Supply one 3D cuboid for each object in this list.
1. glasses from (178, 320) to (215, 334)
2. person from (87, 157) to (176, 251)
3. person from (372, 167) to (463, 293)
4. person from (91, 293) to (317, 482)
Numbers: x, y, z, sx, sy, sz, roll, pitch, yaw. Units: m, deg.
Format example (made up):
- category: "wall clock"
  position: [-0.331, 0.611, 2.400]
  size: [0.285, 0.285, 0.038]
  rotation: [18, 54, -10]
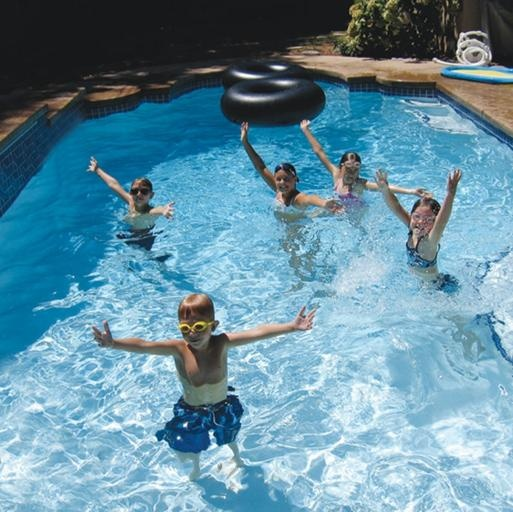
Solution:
- category: "glasses"
  position: [-0.294, 0.353, 2.446]
  size: [0.159, 0.079, 0.058]
  rotation: [-8, 33, -9]
- category: "person"
  position: [-1.488, -0.584, 5.895]
  size: [1.293, 1.237, 0.374]
  rotation: [22, 45, 8]
- category: "person"
  position: [1.384, -0.261, 4.058]
  size: [0.440, 1.131, 0.686]
  rotation: [-12, 34, -10]
- category: "person"
  position: [-0.273, 0.741, 2.700]
  size: [1.303, 0.967, 0.288]
  rotation: [-2, 0, -31]
